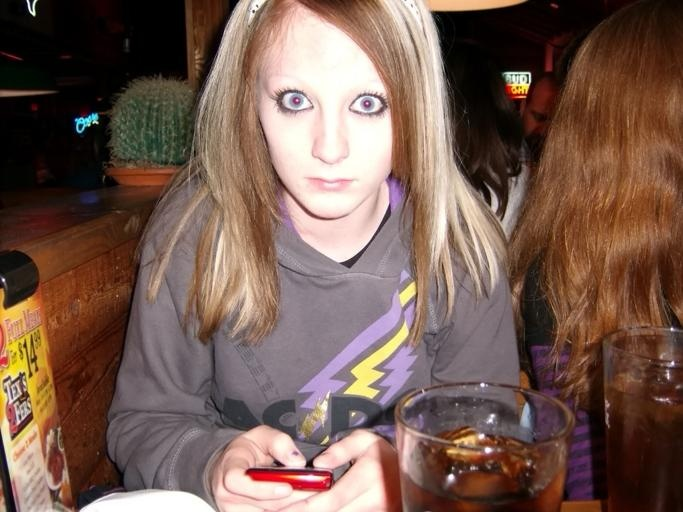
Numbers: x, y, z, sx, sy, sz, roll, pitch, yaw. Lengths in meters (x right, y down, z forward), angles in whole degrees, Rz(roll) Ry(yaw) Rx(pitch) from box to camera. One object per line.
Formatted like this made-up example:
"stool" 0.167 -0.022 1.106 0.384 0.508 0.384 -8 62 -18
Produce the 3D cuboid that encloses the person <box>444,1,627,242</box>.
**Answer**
"person" 0.604 -0.426 2.154 0.558 0.837 0.794 4 -24 12

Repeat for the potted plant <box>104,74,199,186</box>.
"potted plant" -0.527 -0.348 1.697 0.291 0.348 0.318 6 7 1
